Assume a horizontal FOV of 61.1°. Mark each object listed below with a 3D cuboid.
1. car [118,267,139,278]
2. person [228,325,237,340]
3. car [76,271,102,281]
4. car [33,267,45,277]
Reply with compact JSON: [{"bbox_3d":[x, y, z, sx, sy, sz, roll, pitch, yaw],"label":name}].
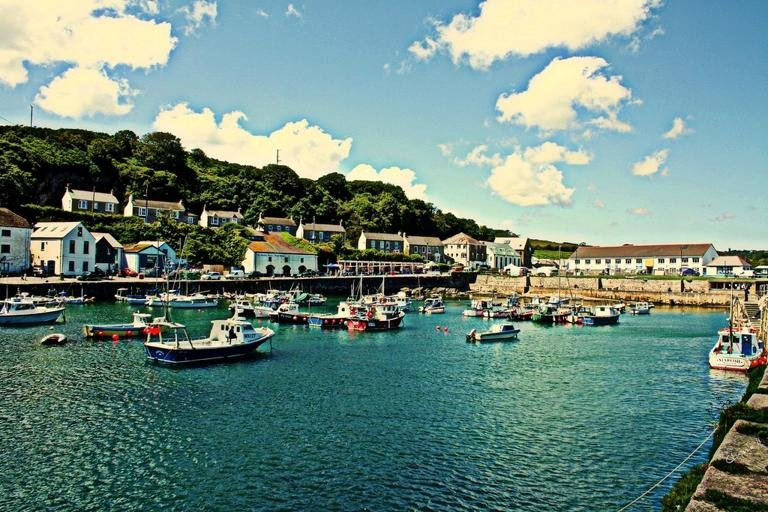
[{"bbox_3d":[-44.893,2.948,113.027,2.524,1.147,1.587,-2,0,27],"label":"car"},{"bbox_3d":[-15.173,7.639,64.875,0.795,0.932,0.326,3,-2,-29],"label":"person"},{"bbox_3d":[-47.175,3.135,104.433,2.635,1.038,1.756,5,-5,-36],"label":"car"},{"bbox_3d":[-54.453,2.706,102.564,1.418,0.972,3.005,-6,19,-43],"label":"car"}]
